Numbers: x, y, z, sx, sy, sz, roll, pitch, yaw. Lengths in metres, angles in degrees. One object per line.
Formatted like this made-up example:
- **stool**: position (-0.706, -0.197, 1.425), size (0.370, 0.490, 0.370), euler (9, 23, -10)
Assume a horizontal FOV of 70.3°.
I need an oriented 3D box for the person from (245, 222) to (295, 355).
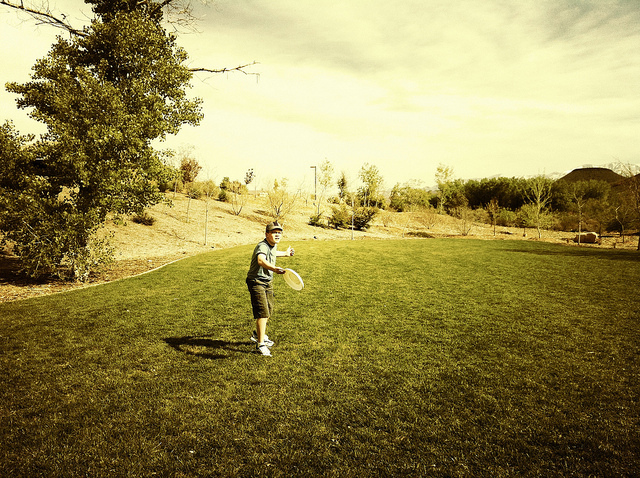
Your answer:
- **person**: position (-1.265, 1.078, 10.862), size (0.929, 3.066, 1.224), euler (0, 8, -5)
